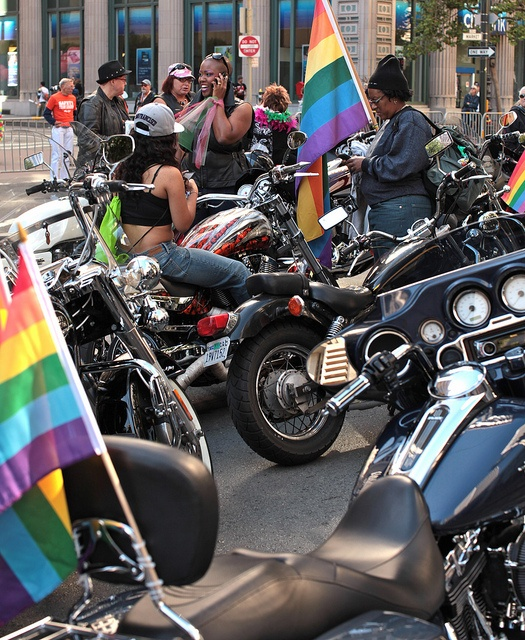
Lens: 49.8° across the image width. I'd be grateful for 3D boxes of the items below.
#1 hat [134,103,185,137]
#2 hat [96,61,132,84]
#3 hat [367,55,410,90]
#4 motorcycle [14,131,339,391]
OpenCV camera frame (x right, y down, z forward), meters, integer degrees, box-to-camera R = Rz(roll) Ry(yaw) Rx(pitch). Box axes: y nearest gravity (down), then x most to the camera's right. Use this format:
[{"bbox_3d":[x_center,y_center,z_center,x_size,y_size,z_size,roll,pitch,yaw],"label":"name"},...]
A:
[{"bbox_3d":[-0.700,-1.390,3.892,0.207,0.161,0.308,27,36,34],"label":"hat"},{"bbox_3d":[-2.335,-3.765,8.668,0.472,0.173,0.391,-20,24,18],"label":"hat"},{"bbox_3d":[1.228,-2.391,5.483,0.318,0.307,0.428,8,33,12],"label":"hat"},{"bbox_3d":[-0.330,-0.754,5.233,2.953,1.861,1.876,-14,11,-31],"label":"motorcycle"}]
